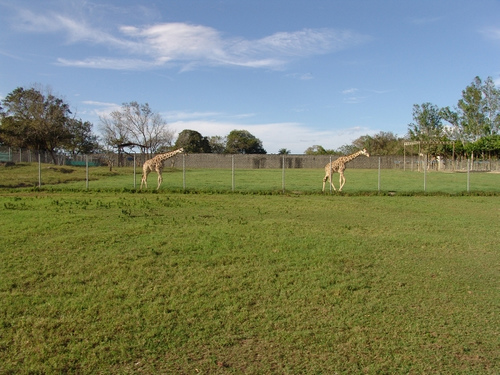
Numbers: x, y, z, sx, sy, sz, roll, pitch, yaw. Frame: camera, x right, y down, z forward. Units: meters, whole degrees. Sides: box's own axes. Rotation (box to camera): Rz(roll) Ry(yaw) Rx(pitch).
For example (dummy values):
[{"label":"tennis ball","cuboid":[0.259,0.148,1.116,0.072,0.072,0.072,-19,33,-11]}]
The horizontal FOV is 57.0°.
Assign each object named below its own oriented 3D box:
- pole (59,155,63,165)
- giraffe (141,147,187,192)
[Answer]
[{"label":"pole","cuboid":[-20.003,-2.949,48.783,0.291,0.716,2.407,-2,4,-21]},{"label":"giraffe","cuboid":[-4.439,-0.886,22.459,1.577,1.776,2.209,0,4,14]}]
